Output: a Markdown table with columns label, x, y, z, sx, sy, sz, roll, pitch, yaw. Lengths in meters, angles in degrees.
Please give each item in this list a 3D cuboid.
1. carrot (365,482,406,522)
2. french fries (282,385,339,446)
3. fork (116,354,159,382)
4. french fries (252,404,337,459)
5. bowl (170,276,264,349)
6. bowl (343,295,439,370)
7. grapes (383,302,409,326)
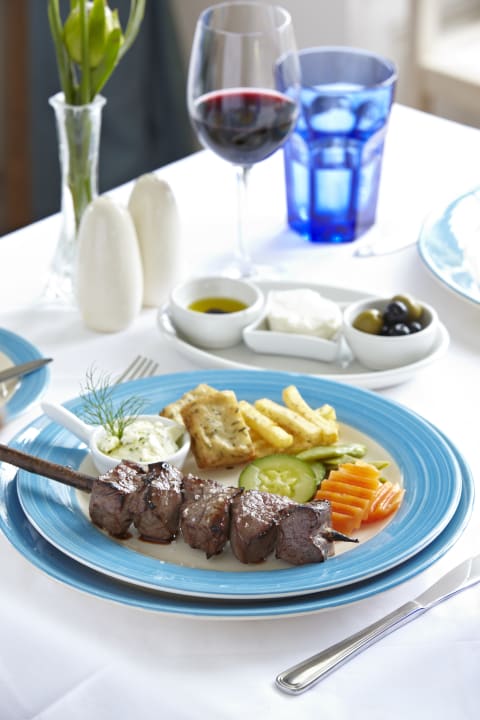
| label | x | y | z | sx | sy | sz | roll | pitch | yaw |
| --- | --- | --- | --- | --- | --- | --- | --- | --- | --- |
| carrot | 0.144 | 0.139 | 0.593 | 0.023 | 0.018 | 0.048 | 11 | 28 | 26 |
| french fries | 0.086 | 0.067 | 0.742 | 0.027 | 0.037 | 0.123 | -9 | 27 | -18 |
| fork | -0.156 | 0.010 | 0.889 | 0.023 | 0.005 | 0.087 | 29 | 33 | 8 |
| french fries | 0.061 | 0.083 | 0.731 | 0.068 | 0.023 | 0.068 | -25 | 38 | -34 |
| bowl | -0.037 | -0.081 | 0.988 | 0.129 | 0.070 | 0.131 | 1 | 39 | -1 |
| bowl | 0.232 | -0.018 | 0.950 | 0.148 | 0.090 | 0.148 | 1 | -8 | 0 |
| grapes | 0.233 | -0.069 | 0.907 | 0.032 | 0.036 | 0.038 | 4 | 37 | 12 |
